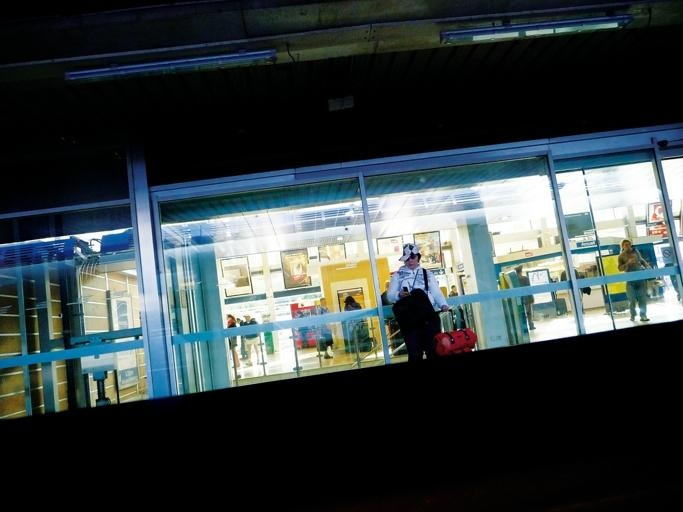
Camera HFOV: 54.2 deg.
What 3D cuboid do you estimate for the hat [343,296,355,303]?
[{"bbox_3d":[0.097,0.566,8.634,0.083,0.104,0.107,6,32,-34],"label":"hat"}]

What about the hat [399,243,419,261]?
[{"bbox_3d":[0.859,-0.058,8.578,0.163,0.149,0.269,-6,6,41],"label":"hat"}]

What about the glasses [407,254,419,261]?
[{"bbox_3d":[0.937,0.026,8.562,0.095,0.089,0.028,-6,-7,13],"label":"glasses"}]

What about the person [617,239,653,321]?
[{"bbox_3d":[3.916,0.320,8.873,0.367,0.856,0.110,-7,-6,-7],"label":"person"}]

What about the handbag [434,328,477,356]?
[{"bbox_3d":[1.350,0.992,8.072,0.461,0.380,0.336,-4,-5,-16],"label":"handbag"}]

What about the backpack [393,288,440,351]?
[{"bbox_3d":[0.926,0.783,8.248,0.527,0.763,0.408,-27,0,13],"label":"backpack"}]
